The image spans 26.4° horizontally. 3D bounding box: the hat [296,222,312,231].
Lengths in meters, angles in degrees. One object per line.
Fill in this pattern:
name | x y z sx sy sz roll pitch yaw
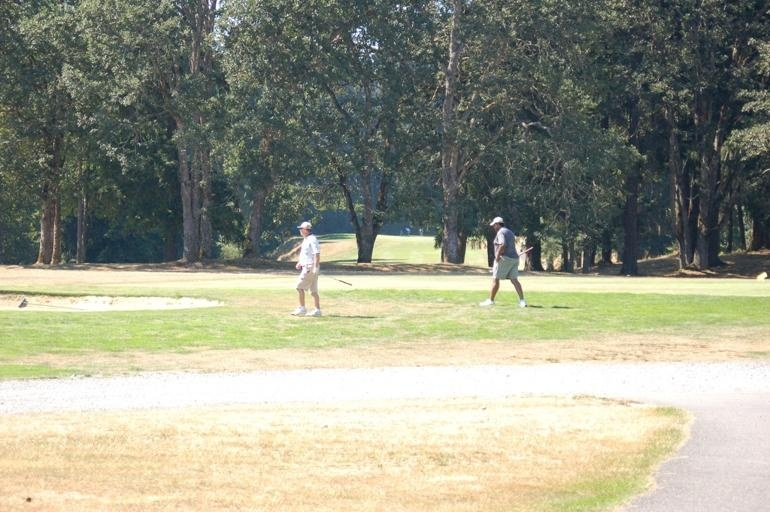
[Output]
hat | -4.005 -1.637 81.553 0.550 0.296 0.401 -1 2 4
